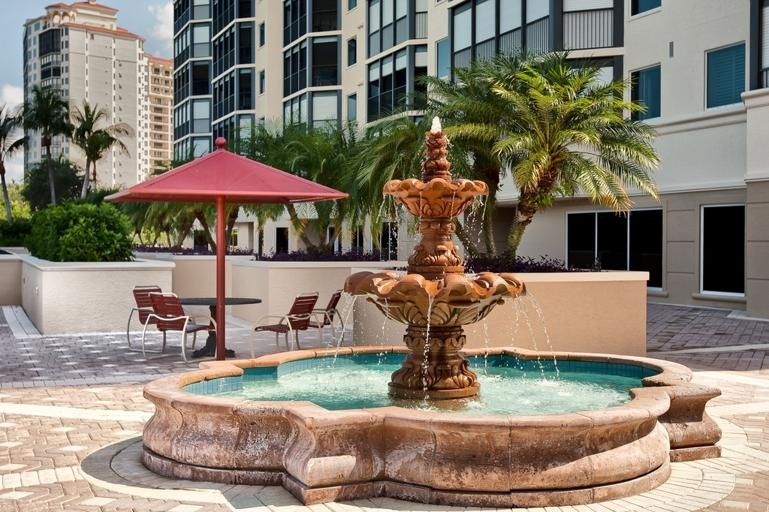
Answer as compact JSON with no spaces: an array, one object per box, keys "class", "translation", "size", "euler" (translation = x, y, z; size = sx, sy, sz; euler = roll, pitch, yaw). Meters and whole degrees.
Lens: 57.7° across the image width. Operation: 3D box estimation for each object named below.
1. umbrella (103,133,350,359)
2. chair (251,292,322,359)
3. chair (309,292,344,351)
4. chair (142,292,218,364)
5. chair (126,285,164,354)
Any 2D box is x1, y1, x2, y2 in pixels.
[{"class":"umbrella","translation":[-2.977,0.240,12.749],"size":[3.879,4.826,3.972],"euler":[0,3,-11]},{"class":"chair","translation":[-2.002,1.393,14.093],"size":[1.045,1.391,0.964],"euler":[5,2,21]},{"class":"chair","translation":[-1.369,1.368,14.846],"size":[0.814,0.997,0.776],"euler":[-2,-5,9]},{"class":"chair","translation":[-4.062,1.375,13.813],"size":[1.152,1.223,1.204],"euler":[2,-1,41]},{"class":"chair","translation":[-4.983,1.346,15.292],"size":[0.768,1.188,1.246],"euler":[8,4,14]}]
